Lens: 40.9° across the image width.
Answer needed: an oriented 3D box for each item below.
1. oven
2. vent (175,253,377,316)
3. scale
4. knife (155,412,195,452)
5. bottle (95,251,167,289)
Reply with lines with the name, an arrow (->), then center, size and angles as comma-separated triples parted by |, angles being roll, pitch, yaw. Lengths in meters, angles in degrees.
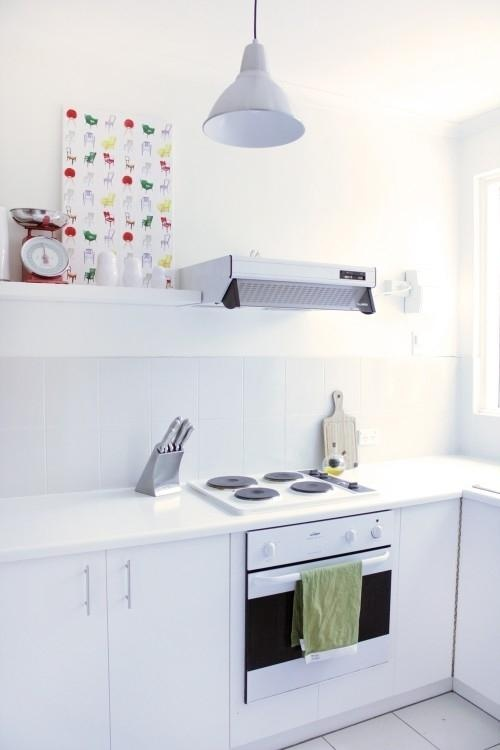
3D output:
oven -> 0.194, 0.814, 2.395 | 0.585, 0.458, 0.326 | -4, 9, -26
vent -> 0.104, -0.328, 2.523 | 0.691, 0.177, 0.421 | -3, 6, -35
scale -> -0.697, -0.421, 2.227 | 0.175, 0.240, 0.272 | -1, 5, -16
knife -> -0.265, 0.222, 2.393 | 0.085, 0.153, 0.035 | 20, 12, -38
bottle -> -0.431, -0.371, 2.376 | 0.170, 0.089, 0.055 | 4, 1, -39
